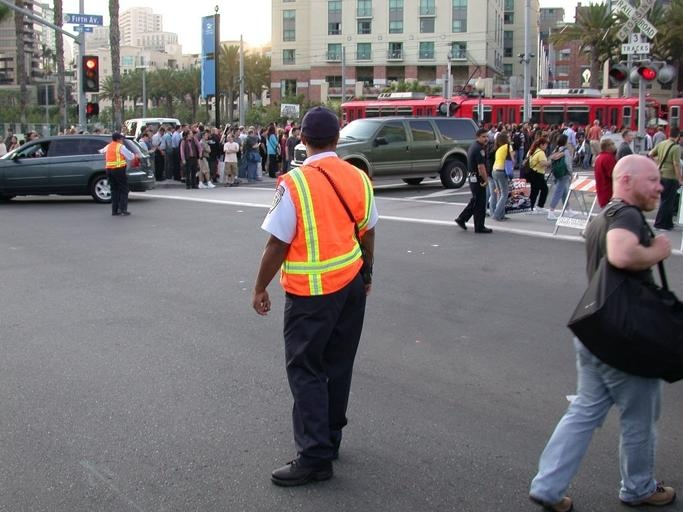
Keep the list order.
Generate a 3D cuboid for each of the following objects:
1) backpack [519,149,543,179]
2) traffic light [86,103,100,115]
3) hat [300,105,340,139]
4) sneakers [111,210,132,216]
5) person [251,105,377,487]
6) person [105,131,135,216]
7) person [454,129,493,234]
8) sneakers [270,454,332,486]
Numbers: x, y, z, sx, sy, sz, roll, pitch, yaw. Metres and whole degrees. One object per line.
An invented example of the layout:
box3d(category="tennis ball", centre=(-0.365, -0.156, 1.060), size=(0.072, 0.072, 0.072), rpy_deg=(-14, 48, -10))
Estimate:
box3d(category="backpack", centre=(4.667, -2.170, 15.086), size=(0.484, 0.508, 0.314), rpy_deg=(32, 16, -11))
box3d(category="traffic light", centre=(-9.408, -5.600, 22.879), size=(0.426, 0.516, 1.377), rpy_deg=(-4, 12, -23))
box3d(category="hat", centre=(-0.134, -0.848, 3.852), size=(0.150, 0.125, 0.255), rpy_deg=(0, 38, 1))
box3d(category="sneakers", centre=(-5.450, -1.062, 14.985), size=(0.418, 0.233, 0.172), rpy_deg=(-1, 3, -4))
box3d(category="person", centre=(-0.121, 0.220, 3.817), size=(0.784, 2.275, 0.433), rpy_deg=(-5, 10, -30))
box3d(category="person", centre=(-5.442, -2.024, 14.862), size=(0.562, 1.992, 0.704), rpy_deg=(-5, 11, -32))
box3d(category="person", centre=(2.847, -1.593, 12.792), size=(0.699, 2.091, 1.023), rpy_deg=(3, 10, 15))
box3d(category="sneakers", centre=(-0.246, 1.330, 3.818), size=(0.353, 0.208, 0.164), rpy_deg=(2, 2, -10))
